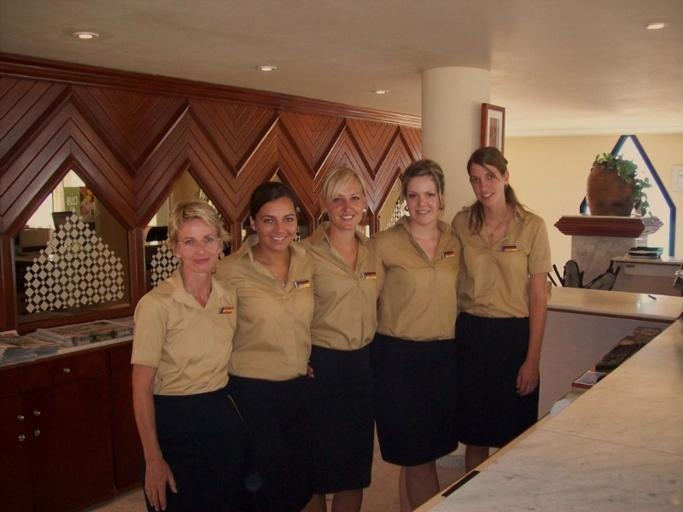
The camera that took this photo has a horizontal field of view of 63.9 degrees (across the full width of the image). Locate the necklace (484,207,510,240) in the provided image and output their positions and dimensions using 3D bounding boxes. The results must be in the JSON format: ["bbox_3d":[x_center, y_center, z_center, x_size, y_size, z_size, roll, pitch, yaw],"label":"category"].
[{"bbox_3d":[0.879,-0.184,3.109,0.140,0.196,0.079,-2,3,15],"label":"necklace"}]

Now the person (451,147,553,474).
[{"bbox_3d":[0.902,0.233,3.096,0.526,1.691,0.288,-2,4,19],"label":"person"}]

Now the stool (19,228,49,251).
[{"bbox_3d":[-2.326,-0.136,4.156,0.130,0.168,0.249,6,10,25],"label":"stool"}]

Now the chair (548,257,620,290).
[{"bbox_3d":[2.960,0.215,6.608,0.508,0.278,0.628,2,1,18],"label":"chair"}]

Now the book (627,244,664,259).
[{"bbox_3d":[3.795,-0.032,6.865,0.375,0.144,0.341,-2,5,24],"label":"book"}]
